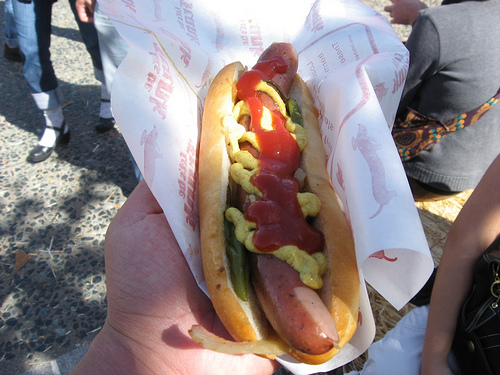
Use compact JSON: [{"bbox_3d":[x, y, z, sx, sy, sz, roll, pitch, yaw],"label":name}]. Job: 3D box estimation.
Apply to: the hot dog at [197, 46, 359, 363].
[{"bbox_3d":[0.126,0.044,2.922,0.854,0.626,2.333,7,62,-18],"label":"hot dog"}]
